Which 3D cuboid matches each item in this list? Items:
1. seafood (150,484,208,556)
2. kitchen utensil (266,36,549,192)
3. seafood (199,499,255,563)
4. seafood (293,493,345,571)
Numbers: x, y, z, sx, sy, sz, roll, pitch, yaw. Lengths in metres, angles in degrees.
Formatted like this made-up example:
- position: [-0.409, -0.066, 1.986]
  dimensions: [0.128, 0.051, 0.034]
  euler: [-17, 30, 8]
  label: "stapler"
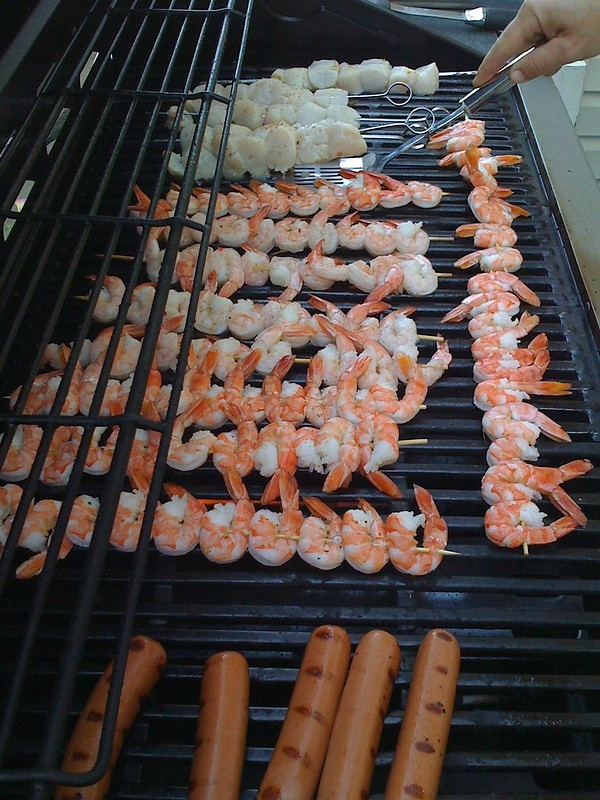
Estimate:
- position: [-0.329, 0.330, 1.892]
  dimensions: [0.151, 0.073, 0.178]
  euler: [-15, 66, -10]
  label: "seafood"
- position: [0.539, -1.157, 2.982]
  dimensions: [1.003, 0.073, 0.337]
  euler: [-27, 95, 18]
  label: "kitchen utensil"
- position: [-0.193, 0.346, 1.874]
  dimensions: [0.137, 0.068, 0.165]
  euler: [5, 57, -7]
  label: "seafood"
- position: [0.068, 0.357, 1.899]
  dimensions: [0.109, 0.050, 0.174]
  euler: [14, 49, 9]
  label: "seafood"
